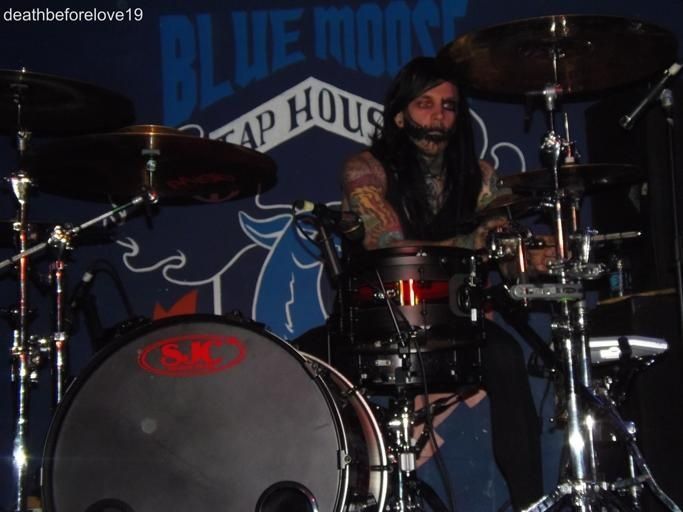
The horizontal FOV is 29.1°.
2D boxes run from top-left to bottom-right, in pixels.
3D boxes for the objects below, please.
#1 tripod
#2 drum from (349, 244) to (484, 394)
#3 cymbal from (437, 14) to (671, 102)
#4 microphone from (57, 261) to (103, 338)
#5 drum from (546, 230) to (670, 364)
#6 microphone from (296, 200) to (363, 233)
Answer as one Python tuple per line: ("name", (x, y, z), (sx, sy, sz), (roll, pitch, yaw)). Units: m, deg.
("tripod", (1.037, 0.646, 7.081), (1.899, 1.885, 1.504), (2, -15, -12))
("drum", (0.378, 0.355, 6.619), (0.727, 0.665, 0.702), (-2, -13, 8))
("cymbal", (1.123, -1.023, 6.617), (0.698, 0.157, 0.667), (8, -20, -7))
("microphone", (-1.428, 0.273, 7.160), (0.144, 0.169, 0.472), (11, -36, -5))
("drum", (1.269, 0.232, 6.825), (0.710, 0.683, 0.655), (-8, -9, 26))
("microphone", (-0.067, -0.158, 6.606), (0.322, 0.110, 0.191), (8, 25, -41))
